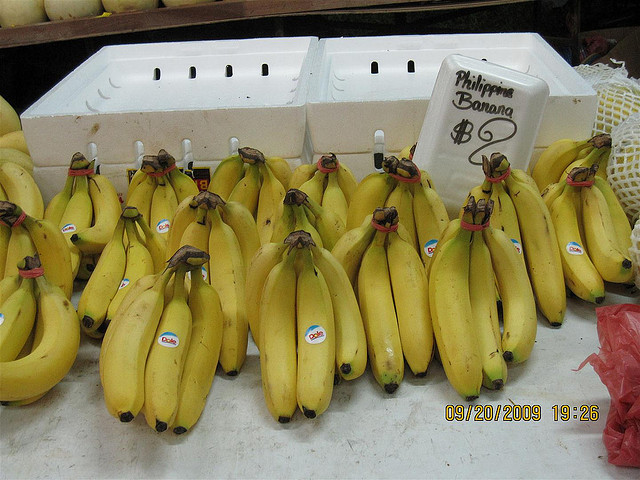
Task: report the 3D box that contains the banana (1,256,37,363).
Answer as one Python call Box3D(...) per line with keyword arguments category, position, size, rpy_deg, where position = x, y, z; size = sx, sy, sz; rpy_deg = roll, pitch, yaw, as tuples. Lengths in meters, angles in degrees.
Box3D(category="banana", position=(-0.953, 0.228, 1.855), size=(0.081, 0.113, 0.344), rpy_deg=(4, 72, -5))

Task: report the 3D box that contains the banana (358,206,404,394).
Box3D(category="banana", position=(0.178, 0.186, 1.905), size=(0.122, 0.196, 0.644), rpy_deg=(0, 77, -14))

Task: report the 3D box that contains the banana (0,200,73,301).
Box3D(category="banana", position=(-1.010, 0.055, 1.993), size=(0.088, 0.363, 0.120), rpy_deg=(-14, 15, 22))

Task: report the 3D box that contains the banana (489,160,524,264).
Box3D(category="banana", position=(0.680, -0.099, 2.086), size=(0.086, 0.395, 0.128), rpy_deg=(-8, 12, 28))

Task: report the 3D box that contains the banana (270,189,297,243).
Box3D(category="banana", position=(-0.130, -0.081, 1.989), size=(0.044, 0.191, 0.084), rpy_deg=(7, 18, -24))

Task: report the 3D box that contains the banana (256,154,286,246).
Box3D(category="banana", position=(-0.197, -0.143, 2.260), size=(0.092, 0.455, 0.146), rpy_deg=(1, 0, 25))

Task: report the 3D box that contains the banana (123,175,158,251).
Box3D(category="banana", position=(-0.698, -0.130, 2.287), size=(0.114, 0.382, 0.093), rpy_deg=(-5, -16, 41))

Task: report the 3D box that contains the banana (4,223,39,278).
Box3D(category="banana", position=(-1.044, 0.039, 1.964), size=(0.050, 0.184, 0.057), rpy_deg=(11, 11, 7))

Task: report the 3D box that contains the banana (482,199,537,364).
Box3D(category="banana", position=(0.642, 0.185, 1.898), size=(0.167, 0.621, 0.184), rpy_deg=(-11, -1, 24))

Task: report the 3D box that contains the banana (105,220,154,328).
Box3D(category="banana", position=(-0.682, 0.108, 2.038), size=(0.095, 0.154, 0.462), rpy_deg=(-9, 61, 24))

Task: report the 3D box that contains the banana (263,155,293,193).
Box3D(category="banana", position=(-0.167, -0.304, 2.346), size=(0.065, 0.243, 0.069), rpy_deg=(-36, 54, -21))

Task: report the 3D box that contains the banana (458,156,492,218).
Box3D(category="banana", position=(0.571, -0.203, 2.048), size=(0.064, 0.136, 0.211), rpy_deg=(20, 75, 27))

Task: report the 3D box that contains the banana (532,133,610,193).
Box3D(category="banana", position=(1.011, -0.301, 2.233), size=(0.105, 0.283, 0.072), rpy_deg=(31, 29, -32))

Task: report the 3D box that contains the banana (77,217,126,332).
Box3D(category="banana", position=(-0.794, 0.131, 2.042), size=(0.094, 0.130, 0.399), rpy_deg=(7, 70, 8))

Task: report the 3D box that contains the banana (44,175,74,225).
Box3D(category="banana", position=(-1.102, -0.171, 2.368), size=(0.054, 0.073, 0.220), rpy_deg=(24, 71, -13))

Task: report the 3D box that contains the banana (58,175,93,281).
Box3D(category="banana", position=(-0.962, -0.080, 2.322), size=(0.097, 0.164, 0.482), rpy_deg=(4, 69, -9))

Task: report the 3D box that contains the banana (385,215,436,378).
Box3D(category="banana", position=(0.291, 0.207, 1.933), size=(0.131, 0.180, 0.605), rpy_deg=(-7, 81, 5))

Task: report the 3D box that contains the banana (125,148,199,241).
Box3D(category="banana", position=(-0.657, -0.199, 2.305), size=(0.220, 0.423, 0.162), rpy_deg=(3, -2, 15))

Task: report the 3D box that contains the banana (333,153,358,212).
Box3D(category="banana", position=(0.111, -0.243, 2.293), size=(0.058, 0.243, 0.083), rpy_deg=(-6, 27, 10))

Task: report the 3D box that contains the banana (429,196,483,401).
Box3D(category="banana", position=(0.400, 0.173, 1.857), size=(0.124, 0.220, 0.701), rpy_deg=(-2, 74, 7))

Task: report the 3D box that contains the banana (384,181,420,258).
Box3D(category="banana", position=(0.306, -0.105, 2.106), size=(0.081, 0.341, 0.115), rpy_deg=(-4, 22, 8))

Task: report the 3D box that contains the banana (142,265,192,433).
Box3D(category="banana", position=(-0.444, 0.357, 1.803), size=(0.111, 0.175, 0.554), rpy_deg=(11, 70, -2))

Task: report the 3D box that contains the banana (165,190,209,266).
Box3D(category="banana", position=(-0.464, -0.030, 1.963), size=(0.069, 0.265, 0.084), rpy_deg=(25, 14, -9))

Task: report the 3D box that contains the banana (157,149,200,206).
Box3D(category="banana", position=(-0.590, -0.257, 2.308), size=(0.067, 0.268, 0.089), rpy_deg=(-31, 5, -1))

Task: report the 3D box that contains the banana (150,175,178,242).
Box3D(category="banana", position=(-0.641, -0.132, 2.279), size=(0.083, 0.355, 0.109), rpy_deg=(-1, -3, 14))

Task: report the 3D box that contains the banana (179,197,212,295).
Box3D(category="banana", position=(-0.403, -0.011, 1.947), size=(0.089, 0.123, 0.380), rpy_deg=(9, 73, -16))

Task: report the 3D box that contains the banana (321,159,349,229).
Box3D(category="banana", position=(0.059, -0.171, 2.200), size=(0.074, 0.104, 0.318), rpy_deg=(-2, 78, -7))

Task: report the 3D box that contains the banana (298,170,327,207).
Box3D(category="banana", position=(-0.026, -0.211, 2.218), size=(0.070, 0.057, 0.201), rpy_deg=(-4, 27, 17))

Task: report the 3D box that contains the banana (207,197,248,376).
Box3D(category="banana", position=(-0.374, 0.167, 1.975), size=(0.118, 0.197, 0.654), rpy_deg=(-9, 78, 8))

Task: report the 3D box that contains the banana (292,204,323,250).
Box3D(category="banana", position=(-0.046, -0.044, 1.878), size=(0.059, 0.180, 0.083), rpy_deg=(-16, 46, 0))

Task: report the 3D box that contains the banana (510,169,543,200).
Box3D(category="banana", position=(0.789, -0.222, 2.145), size=(0.089, 0.068, 0.247), rpy_deg=(52, 16, 14))

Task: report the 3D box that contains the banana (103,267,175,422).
Box3D(category="banana", position=(-0.557, 0.347, 1.736), size=(0.140, 0.107, 0.450), rpy_deg=(6, 72, 44))

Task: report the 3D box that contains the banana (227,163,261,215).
Box3D(category="banana", position=(-0.294, -0.196, 2.188), size=(0.051, 0.183, 0.111), rpy_deg=(21, 13, 17))
